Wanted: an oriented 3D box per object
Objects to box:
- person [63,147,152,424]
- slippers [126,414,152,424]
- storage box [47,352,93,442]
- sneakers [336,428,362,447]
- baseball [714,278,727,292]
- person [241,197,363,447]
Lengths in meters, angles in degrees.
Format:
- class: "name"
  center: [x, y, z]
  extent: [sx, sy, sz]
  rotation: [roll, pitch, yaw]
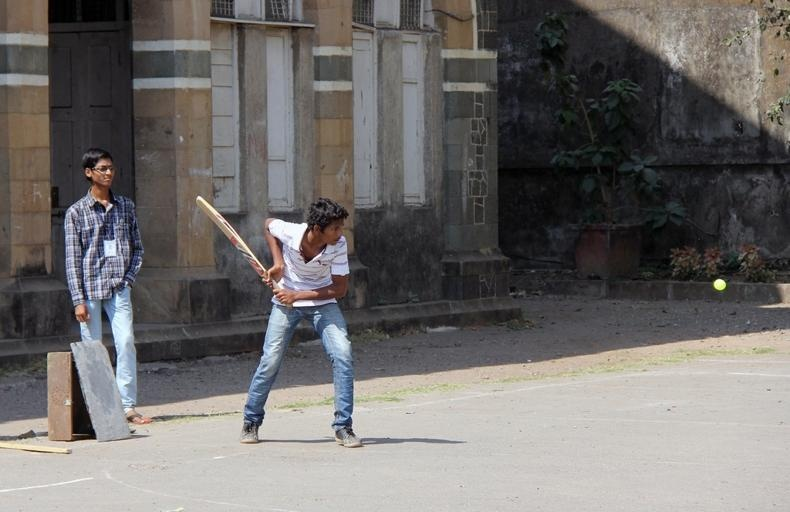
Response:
- class: "person"
  center: [-3.541, 0.363, 19.716]
  extent: [0.918, 3.313, 0.958]
  rotation: [-2, 10, -11]
- class: "slippers"
  center: [-3.120, 1.988, 19.619]
  extent: [0.125, 0.060, 0.223]
  rotation: [-2, 1, -40]
- class: "storage box"
  center: [-3.830, 1.655, 18.986]
  extent: [0.524, 1.027, 0.277]
  rotation: [0, 10, -3]
- class: "sneakers"
  center: [-0.527, 2.122, 18.731]
  extent: [0.157, 0.155, 0.365]
  rotation: [-2, 0, -42]
- class: "baseball"
  center: [5.733, 0.498, 28.513]
  extent: [0.199, 0.195, 0.205]
  rotation: [-4, 7, -1]
- class: "person"
  center: [-1.073, 0.747, 18.778]
  extent: [1.321, 2.889, 0.723]
  rotation: [0, 10, -2]
